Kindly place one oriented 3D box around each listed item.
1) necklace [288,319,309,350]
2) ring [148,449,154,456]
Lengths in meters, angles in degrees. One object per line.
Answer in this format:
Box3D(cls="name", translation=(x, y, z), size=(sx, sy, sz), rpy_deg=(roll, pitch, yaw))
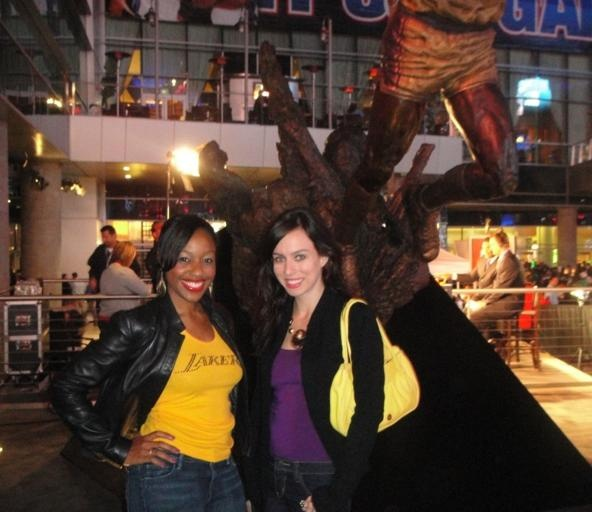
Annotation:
Box3D(cls="necklace", translation=(0.003, 0.330, 2.693), size=(0.063, 0.092, 0.021), rpy_deg=(6, -37, -44))
Box3D(cls="ring", translation=(-0.601, 0.817, 2.604), size=(0.013, 0.021, 0.005), rpy_deg=(13, 1, 30))
